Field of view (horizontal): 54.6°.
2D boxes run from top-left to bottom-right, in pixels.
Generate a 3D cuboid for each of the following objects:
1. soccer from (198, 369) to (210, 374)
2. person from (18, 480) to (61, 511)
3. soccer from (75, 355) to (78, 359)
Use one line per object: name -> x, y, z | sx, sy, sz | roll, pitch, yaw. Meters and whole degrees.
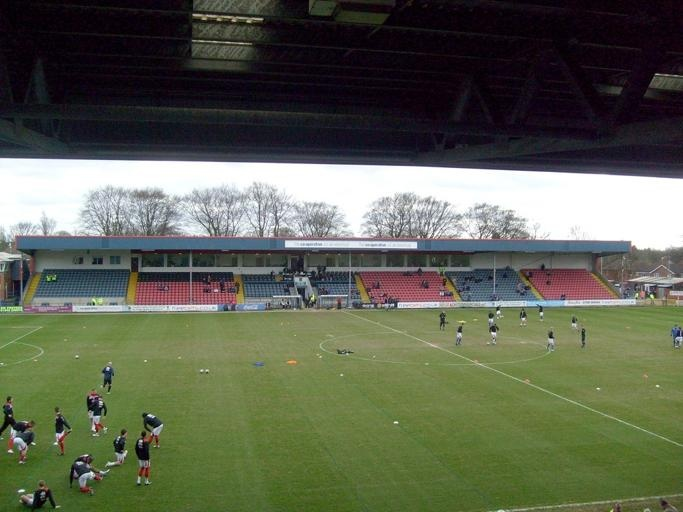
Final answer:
soccer -> -7.176, 6.059, 34.672 | 0.215, 0.355, 0.706 | -5, -2, 11
person -> -9.275, 7.159, 20.161 | 1.395, 0.948, 0.830 | 2, 3, 44
soccer -> -15.343, 5.905, 38.334 | 0.155, 0.137, 0.145 | 3, 3, -5
